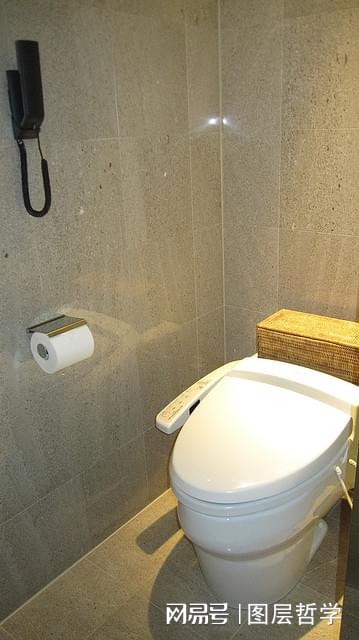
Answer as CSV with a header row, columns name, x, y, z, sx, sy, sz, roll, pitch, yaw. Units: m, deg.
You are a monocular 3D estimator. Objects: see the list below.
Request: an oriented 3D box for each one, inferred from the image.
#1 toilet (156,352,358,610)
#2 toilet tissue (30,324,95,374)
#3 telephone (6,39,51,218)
name,x,y,z,sx,sy,sz,roll,pitch,yaw
toilet,0.211,0.332,1.248,0.449,0.434,0.602,14,30,30
toilet tissue,-0.272,0.055,1.102,0.088,0.104,0.116,26,31,27
telephone,-0.290,-0.352,0.948,0.066,0.343,0.083,-10,16,-28
